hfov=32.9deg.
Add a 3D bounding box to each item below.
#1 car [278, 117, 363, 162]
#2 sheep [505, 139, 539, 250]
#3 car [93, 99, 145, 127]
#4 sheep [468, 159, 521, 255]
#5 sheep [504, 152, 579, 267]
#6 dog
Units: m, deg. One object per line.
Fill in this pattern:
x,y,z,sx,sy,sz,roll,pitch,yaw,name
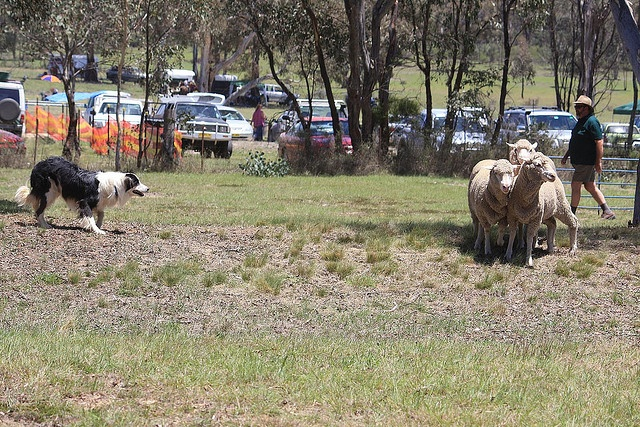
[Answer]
-0.407,-2.948,43.356,1.369,1.256,3.477,-2,-2,-15,car
5.755,-0.489,29.992,0.787,3.215,1.223,1,1,3,sheep
-8.952,-4.316,47.980,2.128,1.393,8.580,1,8,-10,car
4.679,-0.296,29.932,0.997,3.029,2.311,0,1,8,sheep
5.966,-0.270,29.783,1.490,3.702,3.112,0,1,7,sheep
-6.815,-0.441,30.856,3.572,2.317,1.128,5,13,-9,dog
